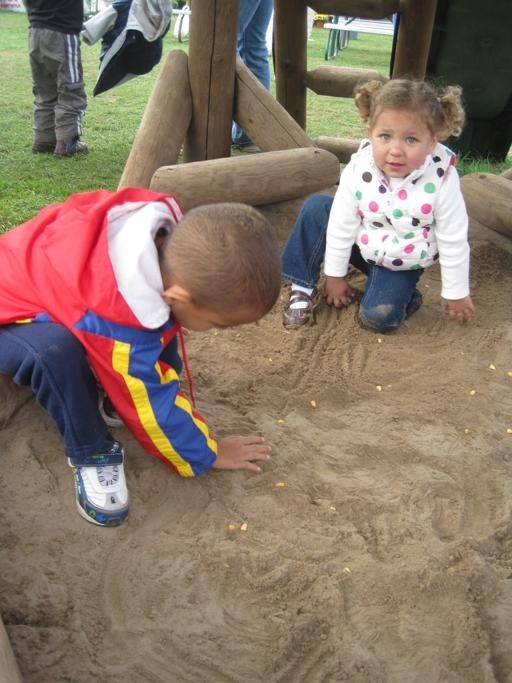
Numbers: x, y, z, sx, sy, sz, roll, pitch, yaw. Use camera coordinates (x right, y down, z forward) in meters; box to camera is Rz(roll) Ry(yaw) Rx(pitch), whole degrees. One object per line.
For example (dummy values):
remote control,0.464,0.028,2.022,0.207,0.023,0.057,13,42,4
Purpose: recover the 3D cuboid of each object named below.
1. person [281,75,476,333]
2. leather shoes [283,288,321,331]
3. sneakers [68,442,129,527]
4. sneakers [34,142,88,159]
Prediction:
person,0.558,-0.496,2.602,0.378,0.984,0.592,-10,30,-23
leather shoes,0.184,-0.143,2.889,0.098,0.093,0.249,0,22,8
sneakers,-0.451,0.368,1.882,0.106,0.121,0.286,-9,44,-20
sneakers,-1.469,-1.428,4.956,0.416,0.154,0.143,-7,23,-15
